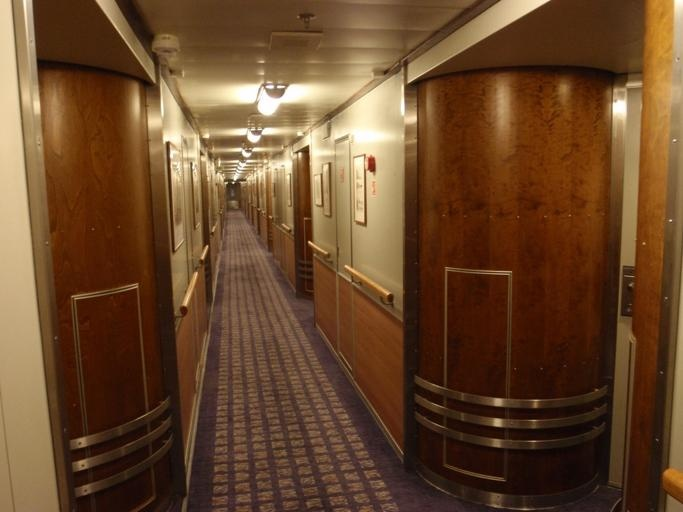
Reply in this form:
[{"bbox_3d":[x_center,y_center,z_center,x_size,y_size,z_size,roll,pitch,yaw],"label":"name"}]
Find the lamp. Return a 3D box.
[{"bbox_3d":[-1.091,-1.850,7.607,0.252,0.228,1.973,4,-25,-13],"label":"lamp"}]
